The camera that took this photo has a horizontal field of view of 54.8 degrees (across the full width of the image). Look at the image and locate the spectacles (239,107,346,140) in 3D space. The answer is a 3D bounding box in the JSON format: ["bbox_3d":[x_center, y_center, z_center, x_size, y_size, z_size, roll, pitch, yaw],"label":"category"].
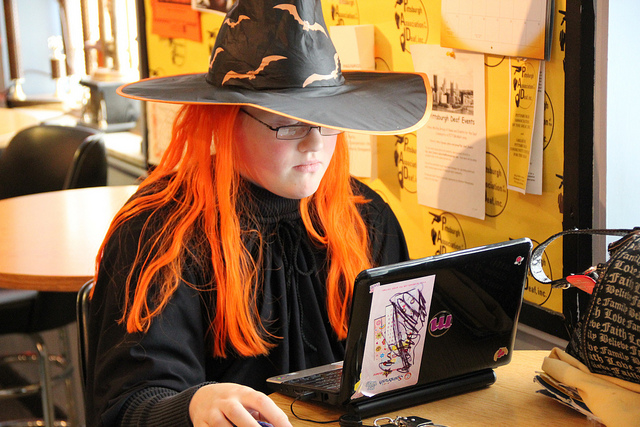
[{"bbox_3d":[-0.068,-0.193,1.339,0.216,0.064,0.051,1,11,-3],"label":"spectacles"}]

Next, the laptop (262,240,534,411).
[{"bbox_3d":[0.179,0.222,1.365,0.454,0.325,0.415,-8,10,-33],"label":"laptop"}]
